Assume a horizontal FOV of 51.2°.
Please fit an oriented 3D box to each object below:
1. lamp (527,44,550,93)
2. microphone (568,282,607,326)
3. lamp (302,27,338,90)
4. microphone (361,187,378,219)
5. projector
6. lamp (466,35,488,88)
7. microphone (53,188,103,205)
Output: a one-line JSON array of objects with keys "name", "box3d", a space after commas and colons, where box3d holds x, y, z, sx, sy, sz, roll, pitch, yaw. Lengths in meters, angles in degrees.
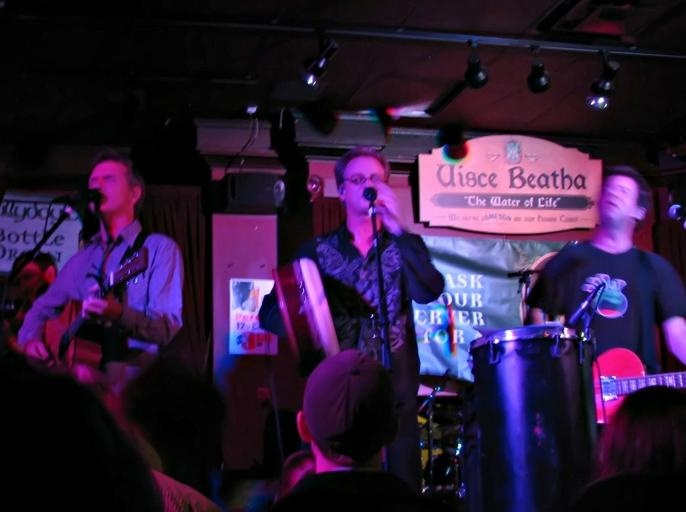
[{"name": "lamp", "box3d": [1.632, -1.568, 5.948, 0.229, 0.320, 0.235, -12, 17, -12]}, {"name": "microphone", "box3d": [1.500, 0.281, 4.401, 0.193, 0.327, 0.744, -1, -9, 22]}, {"name": "lamp", "box3d": [-0.189, -1.596, 5.686, 0.229, 0.345, 0.518, 3, -8, -8]}, {"name": "microphone", "box3d": [0.149, -0.294, 4.083, 0.077, 0.177, 0.223, 2, -8, 1]}, {"name": "projector", "box3d": [-0.166, -1.601, 6.744, 0.240, 0.838, 0.804, 28, 37, 11]}, {"name": "lamp", "box3d": [1.083, -1.512, 5.825, 0.124, 0.237, 0.132, 0, 41, 18]}, {"name": "microphone", "box3d": [-2.142, -0.479, 5.772, 0.342, 0.094, 0.241, -6, 5, -28]}]
